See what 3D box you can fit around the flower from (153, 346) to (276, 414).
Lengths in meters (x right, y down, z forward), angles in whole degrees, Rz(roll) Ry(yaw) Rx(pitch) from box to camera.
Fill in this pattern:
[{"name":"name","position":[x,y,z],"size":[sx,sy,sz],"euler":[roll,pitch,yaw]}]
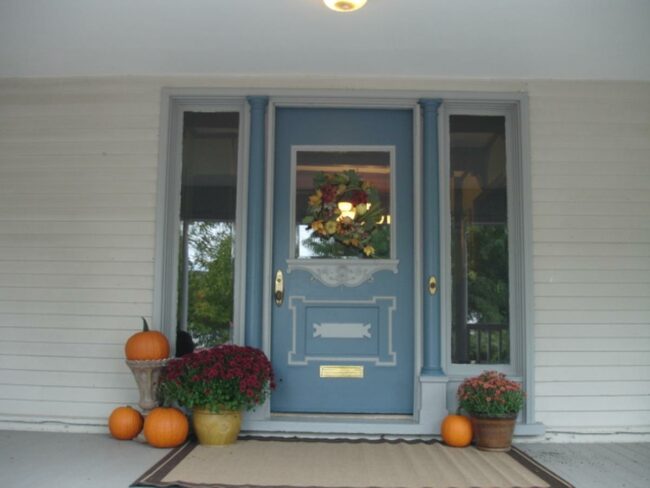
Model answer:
[{"name":"flower","position":[-0.978,1.192,6.114],"size":[0.920,0.503,0.808],"euler":[4,-19,-23]}]

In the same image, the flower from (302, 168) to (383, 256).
[{"name":"flower","position":[0.191,-0.292,6.754],"size":[0.757,0.743,0.277],"euler":[6,1,-1]}]

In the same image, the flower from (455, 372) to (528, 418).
[{"name":"flower","position":[1.456,1.341,6.121],"size":[0.539,0.377,0.474],"euler":[4,-11,-23]}]

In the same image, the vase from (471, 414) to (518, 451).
[{"name":"vase","position":[1.466,1.645,6.126],"size":[0.453,0.327,0.448],"euler":[9,-12,-37]}]

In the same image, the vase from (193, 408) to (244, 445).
[{"name":"vase","position":[-0.921,1.558,5.921],"size":[0.342,0.251,0.319],"euler":[1,-11,-1]}]

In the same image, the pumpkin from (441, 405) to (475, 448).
[{"name":"pumpkin","position":[1.153,1.617,6.045],"size":[0.259,0.306,0.257],"euler":[4,-9,-11]}]

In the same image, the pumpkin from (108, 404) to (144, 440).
[{"name":"pumpkin","position":[-1.733,1.569,6.130],"size":[0.283,0.274,0.271],"euler":[6,-1,-9]}]
